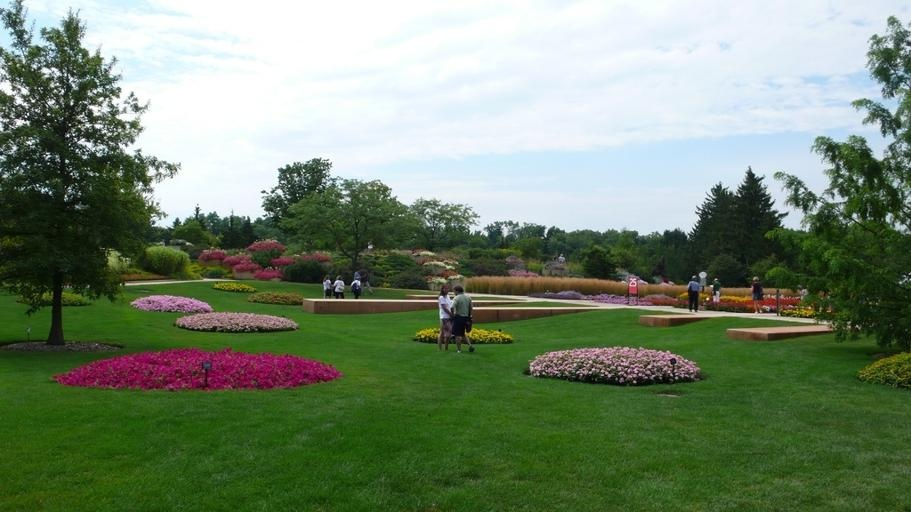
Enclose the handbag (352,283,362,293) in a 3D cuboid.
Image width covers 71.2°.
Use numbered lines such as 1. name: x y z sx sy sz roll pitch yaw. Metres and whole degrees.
1. handbag: -6.421 2.041 40.995 0.352 0.499 0.571 2 -2 14
